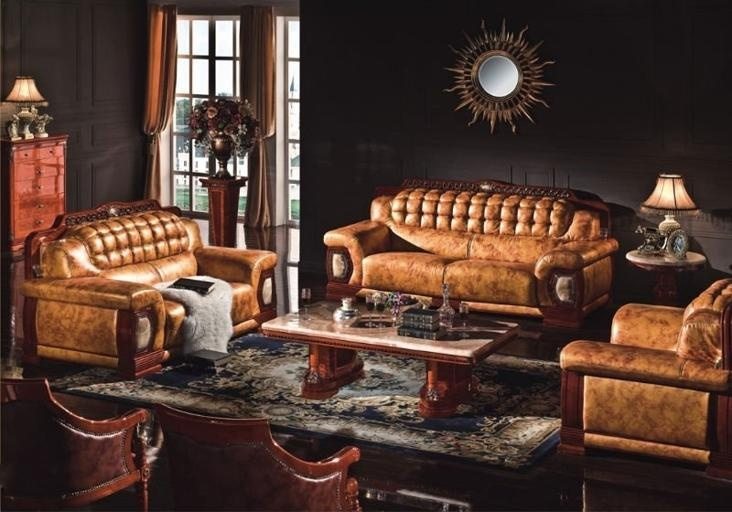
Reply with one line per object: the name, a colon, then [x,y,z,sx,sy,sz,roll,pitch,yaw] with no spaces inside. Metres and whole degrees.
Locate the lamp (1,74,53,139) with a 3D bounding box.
lamp: [-4.824,-2.097,8.478,0.568,0.895,1.080,-7,14,-27]

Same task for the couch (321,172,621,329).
couch: [1.088,-0.112,6.646,2.901,1.112,1.198,7,22,30]

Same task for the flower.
flower: [-1.567,-1.500,6.899,0.811,0.686,0.776,5,9,43]

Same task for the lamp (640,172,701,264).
lamp: [3.063,-0.381,6.146,0.663,0.766,0.609,-3,9,-25]

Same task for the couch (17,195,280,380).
couch: [-1.840,0.189,5.490,1.219,1.005,1.978,14,16,22]
